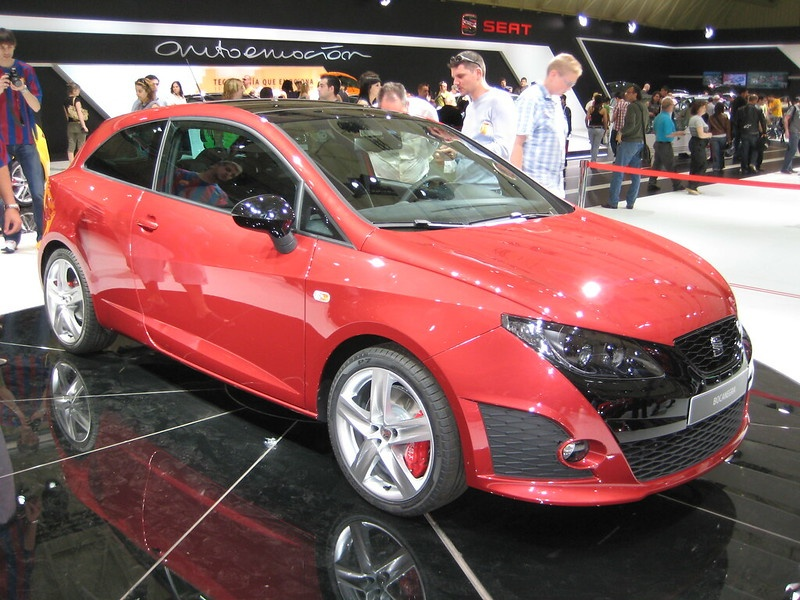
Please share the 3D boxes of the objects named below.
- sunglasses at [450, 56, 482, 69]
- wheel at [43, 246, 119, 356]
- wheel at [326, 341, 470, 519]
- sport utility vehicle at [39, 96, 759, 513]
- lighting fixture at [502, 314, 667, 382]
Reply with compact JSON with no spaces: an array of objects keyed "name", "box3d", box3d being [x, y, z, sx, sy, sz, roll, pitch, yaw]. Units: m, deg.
[{"name":"sunglasses","box3d":[0.531,-1.944,4.421,0.185,0.045,0.163,9,4,-23]},{"name":"wheel","box3d":[-2.029,-0.016,3.461,0.653,0.569,0.218,28,25,33]},{"name":"wheel","box3d":[0.010,0.509,2.142,0.745,0.627,0.243,-18,2,39]},{"name":"sport utility vehicle","box3d":[-0.327,-0.192,3.089,3.995,1.804,1.498,12,14,35]},{"name":"lighting fixture","box3d":[0.666,0.187,1.974,0.699,0.178,0.189,16,-15,-8]}]
